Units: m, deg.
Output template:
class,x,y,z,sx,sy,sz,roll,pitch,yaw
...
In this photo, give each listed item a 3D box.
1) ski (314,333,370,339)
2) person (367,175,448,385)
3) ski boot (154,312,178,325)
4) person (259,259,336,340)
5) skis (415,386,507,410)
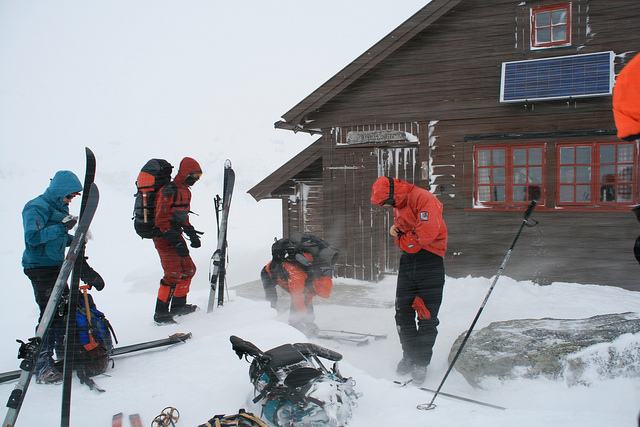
class,x,y,z,sx,sy,sz,roll,pitch,yaw
ski,0.366,2.119,9.113,0.901,0.070,0.222,2,0,7
person,1.457,0.997,8.381,1.009,2.566,0.985,2,-1,13
ski boot,-2.738,1.881,9.341,0.477,0.189,0.155,3,-2,-14
person,-0.456,1.468,9.473,1.223,1.224,0.578,1,-1,43
skis,2.011,2.630,7.500,0.923,0.093,0.042,12,-42,21
